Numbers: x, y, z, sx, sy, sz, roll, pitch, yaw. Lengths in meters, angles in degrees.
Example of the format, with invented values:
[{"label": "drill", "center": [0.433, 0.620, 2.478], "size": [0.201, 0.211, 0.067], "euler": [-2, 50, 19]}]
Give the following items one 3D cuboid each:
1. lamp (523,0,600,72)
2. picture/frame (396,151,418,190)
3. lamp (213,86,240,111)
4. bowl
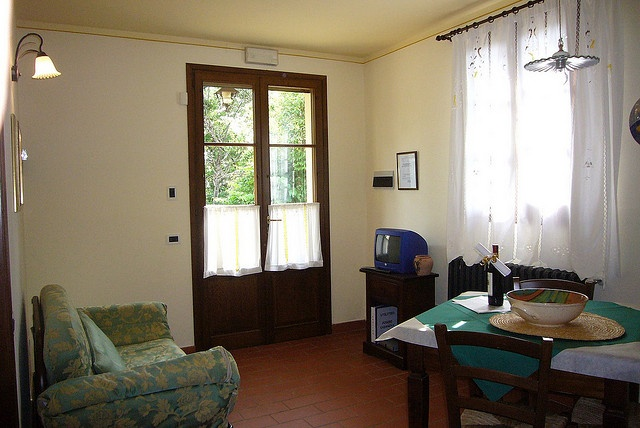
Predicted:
[{"label": "lamp", "center": [1.832, -1.383, 3.500], "size": [0.455, 0.624, 0.876], "euler": [3, 9, 33]}, {"label": "picture/frame", "center": [1.011, -0.510, 5.425], "size": [0.074, 0.443, 0.368], "euler": [-5, 8, -27]}, {"label": "lamp", "center": [-1.085, -1.365, 5.478], "size": [0.231, 0.312, 0.241], "euler": [-3, 11, -10]}, {"label": "bowl", "center": [1.424, 0.635, 2.960], "size": [0.269, 0.122, 0.325], "euler": [-5, 4, 12]}]
